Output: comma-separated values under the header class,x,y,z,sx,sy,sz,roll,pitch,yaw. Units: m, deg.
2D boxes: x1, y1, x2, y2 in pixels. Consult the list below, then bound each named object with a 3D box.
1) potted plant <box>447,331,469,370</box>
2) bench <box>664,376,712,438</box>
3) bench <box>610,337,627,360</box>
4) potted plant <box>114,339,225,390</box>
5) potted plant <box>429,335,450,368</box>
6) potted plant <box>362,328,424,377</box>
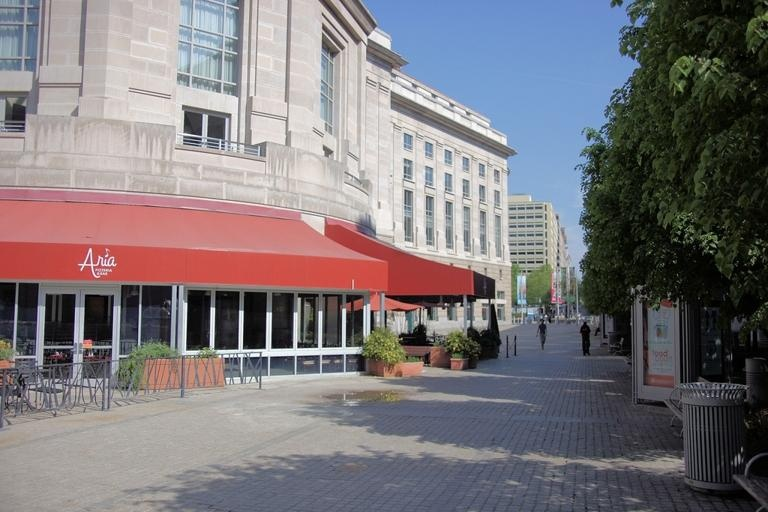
class,x,y,z,sx,sy,sz,roll,pitch,yaw
potted plant,3.143,4.104,31.041,1.256,2.013,1.201,-1,2,14
bench,6.434,3.244,15.232,0.549,1.022,1.576,-1,-6,12
bench,13.635,5.395,41.757,1.070,1.559,1.050,3,-7,-23
potted plant,-6.955,3.739,23.308,1.942,1.042,2.060,-1,-5,8
potted plant,2.574,4.425,32.368,1.064,1.683,1.115,-4,-7,31
potted plant,0.169,3.789,27.710,1.894,1.435,1.764,4,-5,-44
